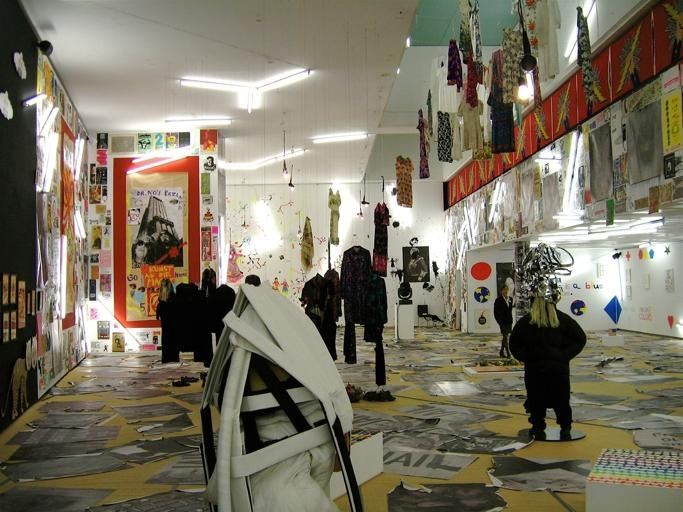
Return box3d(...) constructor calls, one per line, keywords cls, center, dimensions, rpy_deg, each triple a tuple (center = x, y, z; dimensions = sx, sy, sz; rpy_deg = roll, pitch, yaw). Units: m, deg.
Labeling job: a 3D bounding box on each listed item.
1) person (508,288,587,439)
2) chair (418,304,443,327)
box3d(cls="person", center=(2.231, 1.157, 5.255), dimensions=(0.746, 1.551, 0.240), rpy_deg=(-2, -3, 23))
box3d(cls="chair", center=(3.456, 2.250, 19.097), dimensions=(0.597, 0.760, 1.043), rpy_deg=(3, -2, -38))
